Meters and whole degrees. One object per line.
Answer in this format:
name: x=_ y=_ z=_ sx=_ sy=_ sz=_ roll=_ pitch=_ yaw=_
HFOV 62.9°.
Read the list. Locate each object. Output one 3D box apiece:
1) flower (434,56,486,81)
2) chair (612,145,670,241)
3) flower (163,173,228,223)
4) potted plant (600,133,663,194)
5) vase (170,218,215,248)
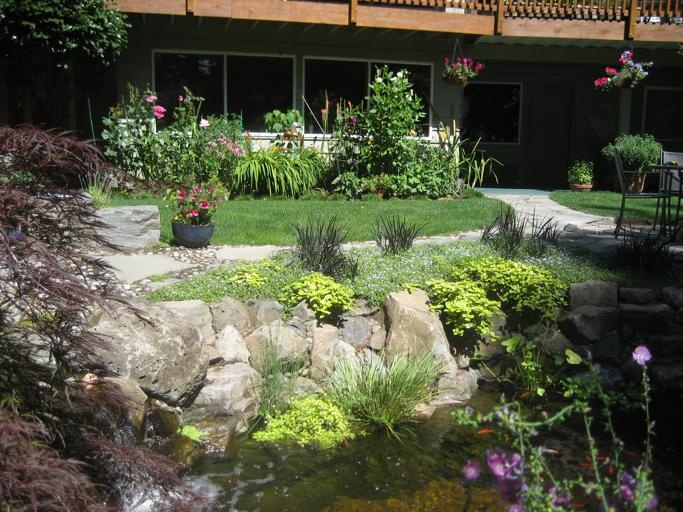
flower: x=2.367 y=-3.734 z=11.213 sx=0.876 sy=0.387 sz=0.804 roll=10 pitch=24 yaw=16
chair: x=3.753 y=-0.807 z=7.070 sx=0.636 sy=1.032 sz=0.587 roll=2 pitch=6 yaw=26
flower: x=-1.993 y=-0.759 z=7.550 sx=0.773 sy=0.567 sz=0.814 roll=3 pitch=19 yaw=0
potted plant: x=5.858 y=-1.779 z=11.386 sx=0.958 sy=1.188 sz=1.077 roll=1 pitch=3 yaw=-42
vase: x=-1.751 y=-0.241 z=6.561 sx=0.352 sy=0.231 sz=0.366 roll=0 pitch=2 yaw=-10
